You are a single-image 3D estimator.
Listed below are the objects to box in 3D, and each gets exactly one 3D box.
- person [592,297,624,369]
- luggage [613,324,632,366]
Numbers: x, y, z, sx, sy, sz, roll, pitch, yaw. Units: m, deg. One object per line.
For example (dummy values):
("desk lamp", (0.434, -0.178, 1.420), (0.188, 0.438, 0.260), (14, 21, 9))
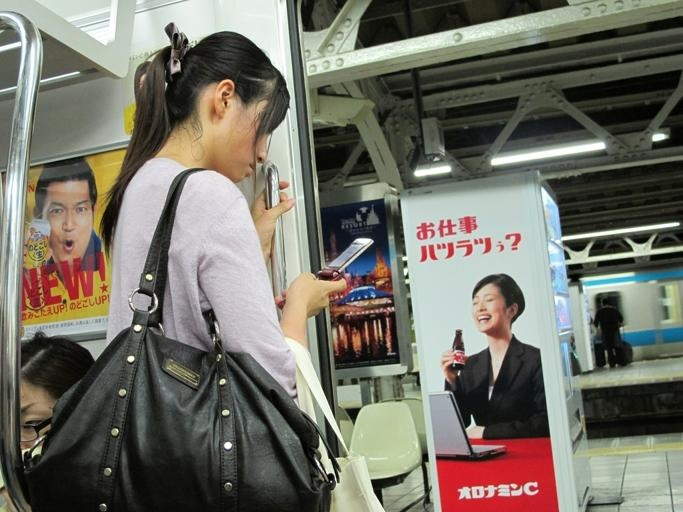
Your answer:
("person", (8.617, 2.574, 19.171), (0.780, 1.959, 0.582), (-7, -9, 24))
("luggage", (8.964, 2.822, 19.245), (0.476, 1.197, 0.281), (8, 9, 29))
